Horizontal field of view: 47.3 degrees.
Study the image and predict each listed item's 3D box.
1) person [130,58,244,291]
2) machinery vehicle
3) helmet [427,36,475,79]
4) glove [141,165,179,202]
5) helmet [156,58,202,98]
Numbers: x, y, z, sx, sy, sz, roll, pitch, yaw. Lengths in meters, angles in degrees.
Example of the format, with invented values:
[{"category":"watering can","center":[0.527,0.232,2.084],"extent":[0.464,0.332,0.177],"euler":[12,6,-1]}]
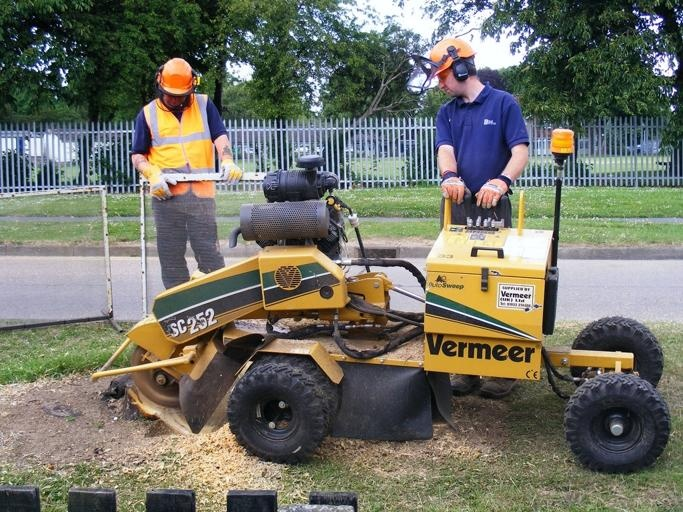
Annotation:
[{"category":"person","center":[-1.436,-0.517,7.495],"extent":[0.920,2.755,0.891],"euler":[-6,20,-13]},{"category":"machinery vehicle","center":[0.143,0.127,6.902],"extent":[4.857,2.833,2.189],"euler":[2,8,8]},{"category":"helmet","center":[0.911,-1.726,6.581],"extent":[0.417,0.243,0.379],"euler":[-10,27,39]},{"category":"glove","center":[-1.666,-0.704,7.170],"extent":[0.108,0.245,0.324],"euler":[-28,59,-25]},{"category":"helmet","center":[-1.505,-1.720,7.229],"extent":[0.404,0.279,0.532],"euler":[6,28,-5]}]
